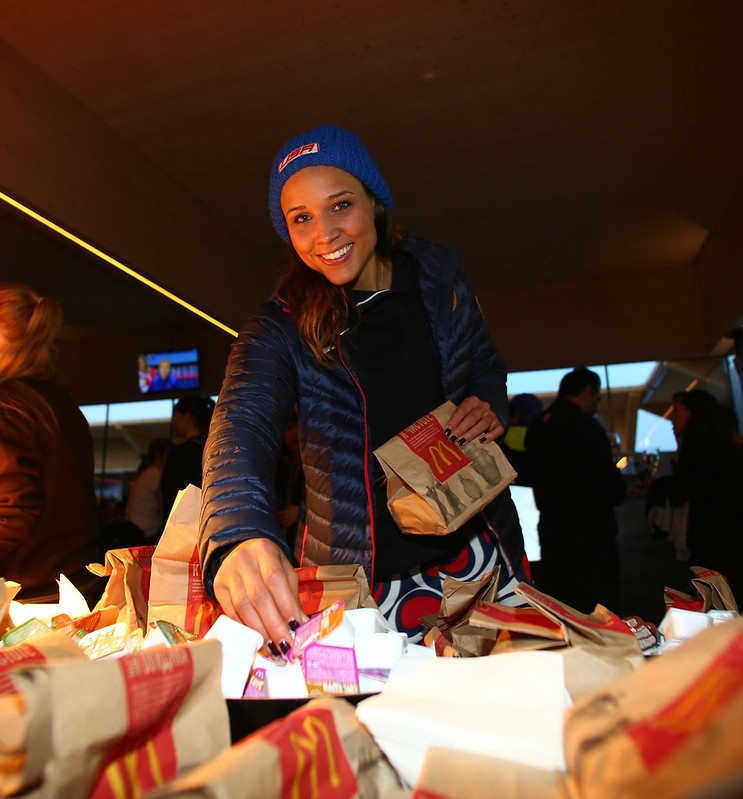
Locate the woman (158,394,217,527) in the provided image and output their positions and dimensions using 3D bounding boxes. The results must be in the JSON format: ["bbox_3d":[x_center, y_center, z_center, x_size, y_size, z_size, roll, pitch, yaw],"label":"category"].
[{"bbox_3d":[-0.836,0.353,3.092,0.256,0.730,0.221,-9,28,-20],"label":"woman"}]

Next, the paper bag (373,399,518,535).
[{"bbox_3d":[0.095,0.095,0.956,0.070,0.147,0.183,-17,9,45],"label":"paper bag"}]

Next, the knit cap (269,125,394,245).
[{"bbox_3d":[-0.102,-0.395,1.206,0.248,0.168,0.234,-11,8,-11],"label":"knit cap"}]

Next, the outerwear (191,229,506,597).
[{"bbox_3d":[-0.042,0.003,0.983,0.420,0.473,0.181,-3,-28,-2],"label":"outerwear"}]
